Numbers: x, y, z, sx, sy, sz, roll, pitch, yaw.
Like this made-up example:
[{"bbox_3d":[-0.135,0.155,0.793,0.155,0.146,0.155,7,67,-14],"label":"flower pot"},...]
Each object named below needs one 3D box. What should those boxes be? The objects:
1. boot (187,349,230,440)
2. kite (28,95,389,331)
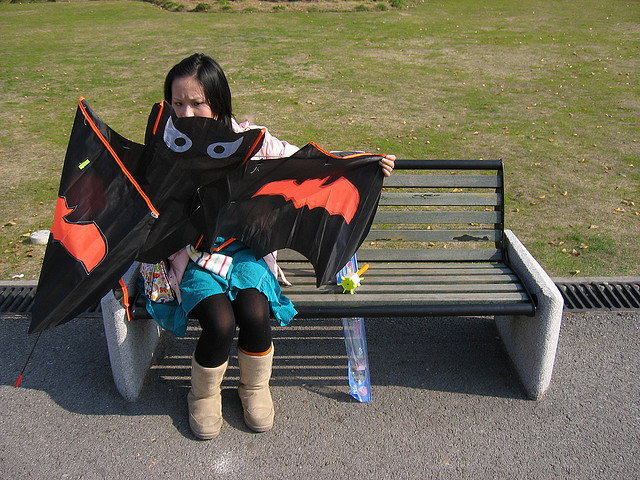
[{"bbox_3d":[-0.743,1.028,3.790,0.200,0.429,0.436,3,23,-17],"label":"boot"},{"bbox_3d":[-0.779,-0.292,3.765,2.176,1.070,0.899,-6,33,-11],"label":"kite"}]
